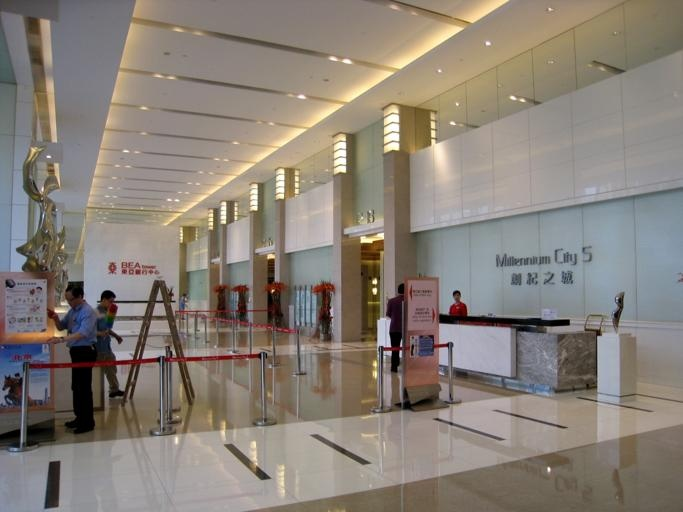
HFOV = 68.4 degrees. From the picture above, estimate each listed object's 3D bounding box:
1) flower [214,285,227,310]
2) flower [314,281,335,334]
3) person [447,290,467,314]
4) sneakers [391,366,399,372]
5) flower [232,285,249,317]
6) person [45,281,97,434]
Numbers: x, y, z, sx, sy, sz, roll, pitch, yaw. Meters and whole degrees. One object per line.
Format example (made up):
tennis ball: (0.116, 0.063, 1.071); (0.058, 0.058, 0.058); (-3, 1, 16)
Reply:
flower: (-7.295, 2.431, 30.403); (0.654, 1.528, 3.407); (-1, -3, -15)
flower: (-0.705, 2.060, 19.138); (0.686, 2.113, 1.482); (-1, -4, -18)
person: (3.115, 1.220, 13.407); (0.293, 0.911, 0.453); (19, -24, -24)
sneakers: (1.284, 2.668, 12.010); (0.107, 0.121, 0.123); (3, -4, -22)
flower: (-5.405, 2.460, 27.127); (0.669, 1.872, 1.799); (-1, -3, -12)
person: (-4.133, 1.549, 7.779); (0.578, 2.222, 0.782); (0, -4, -27)
